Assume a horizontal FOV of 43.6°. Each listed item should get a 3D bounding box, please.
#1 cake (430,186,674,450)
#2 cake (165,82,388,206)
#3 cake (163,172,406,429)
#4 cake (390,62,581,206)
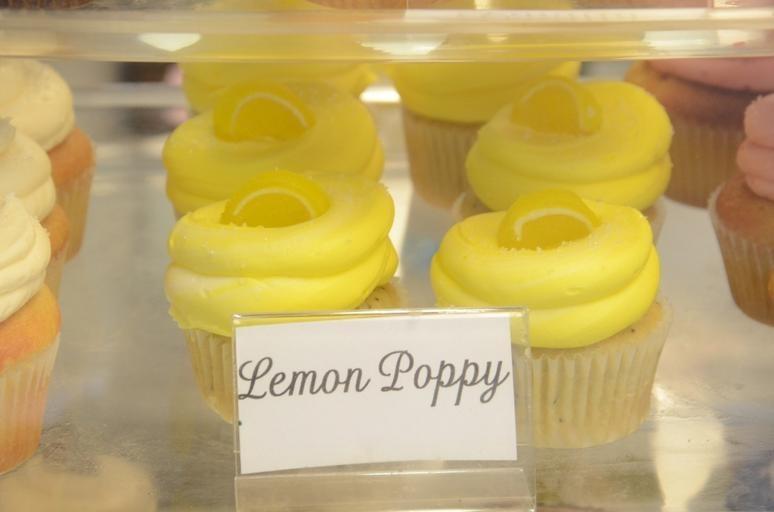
[{"bbox_3d":[0.336,0.091,1.949,0.477,0.442,0.464,-7,25,3],"label":"cake"},{"bbox_3d":[-0.231,-0.221,2.082,0.551,0.252,0.385,-10,15,-37],"label":"cake"},{"bbox_3d":[-0.211,0.053,1.979,0.437,0.441,0.507,16,28,32],"label":"cake"},{"bbox_3d":[0.230,-0.298,2.135,0.353,0.293,0.307,2,22,15],"label":"cake"}]
